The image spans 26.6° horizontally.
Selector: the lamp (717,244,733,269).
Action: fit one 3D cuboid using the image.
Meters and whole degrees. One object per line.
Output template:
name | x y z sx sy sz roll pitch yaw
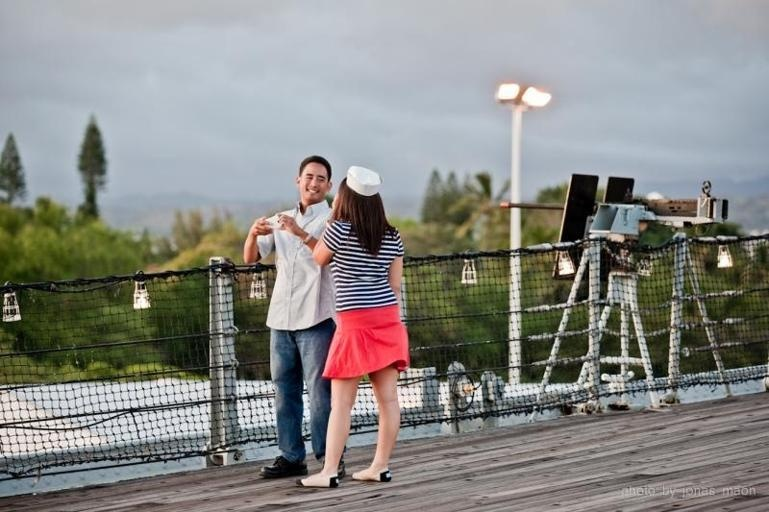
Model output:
lamp | 25.996 0.096 123.461 1.001 1.649 0.566 0 -3 1
